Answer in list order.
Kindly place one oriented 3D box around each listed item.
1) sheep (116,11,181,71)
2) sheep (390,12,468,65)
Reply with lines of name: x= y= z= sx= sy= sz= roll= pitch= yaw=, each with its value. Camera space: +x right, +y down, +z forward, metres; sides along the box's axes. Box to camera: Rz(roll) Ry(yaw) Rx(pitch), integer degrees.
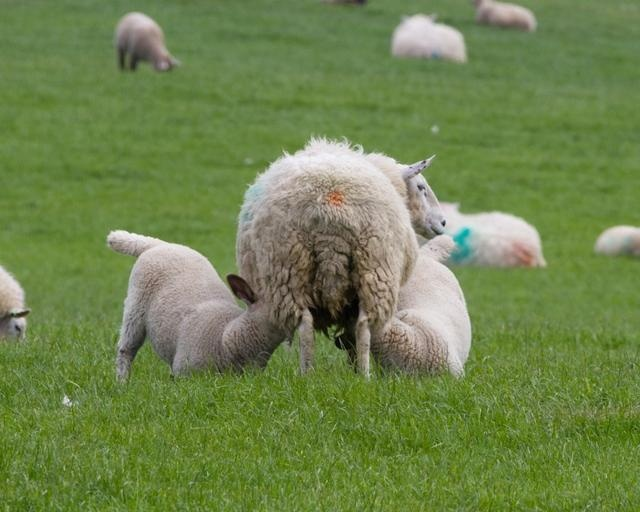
sheep: x=-3.403 y=-4.200 z=26.895 sx=1.178 sy=1.172 sz=1.019 roll=7 pitch=22 yaw=-3
sheep: x=2.270 y=-4.650 z=29.192 sx=1.562 sy=1.047 sz=0.812 roll=15 pitch=22 yaw=38
